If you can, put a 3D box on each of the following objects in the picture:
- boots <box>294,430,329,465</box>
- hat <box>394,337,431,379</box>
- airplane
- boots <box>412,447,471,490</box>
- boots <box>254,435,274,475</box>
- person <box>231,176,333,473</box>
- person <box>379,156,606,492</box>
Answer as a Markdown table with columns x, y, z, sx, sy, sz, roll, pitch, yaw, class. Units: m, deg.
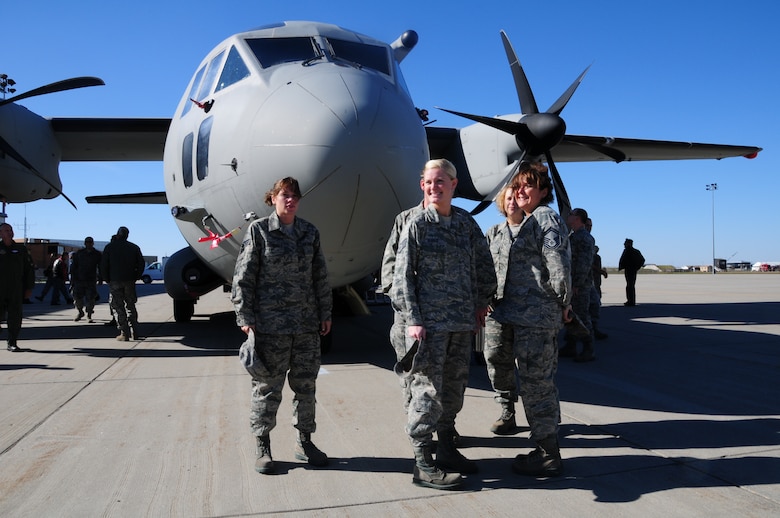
| x | y | z | sx | sy | sz | roll | pitch | yaw | class |
| --- | --- | --- | --- | --- | --- | --- | --- | --- | --- |
| -0.697 | 1.762 | 5.528 | 0.220 | 0.339 | 0.526 | 8 | -24 | -22 | boots |
| 0.199 | 0.857 | 5.120 | 0.196 | 0.353 | 0.159 | 3 | -24 | 37 | hat |
| -0.917 | -0.896 | 8.027 | 6.466 | 2.291 | 4.528 | -3 | 1 | -16 | airplane |
| 0.487 | 1.813 | 5.089 | 0.572 | 0.365 | 0.228 | -1 | -1 | 6 | boots |
| -1.133 | 1.734 | 5.326 | 0.167 | 0.256 | 0.433 | 0 | 3 | -13 | boots |
| -0.974 | 0.550 | 5.447 | 0.904 | 2.586 | 0.779 | -2 | 8 | -16 | person |
| 0.882 | 0.497 | 5.376 | 1.667 | 2.769 | 1.069 | -1 | 7 | -9 | person |
